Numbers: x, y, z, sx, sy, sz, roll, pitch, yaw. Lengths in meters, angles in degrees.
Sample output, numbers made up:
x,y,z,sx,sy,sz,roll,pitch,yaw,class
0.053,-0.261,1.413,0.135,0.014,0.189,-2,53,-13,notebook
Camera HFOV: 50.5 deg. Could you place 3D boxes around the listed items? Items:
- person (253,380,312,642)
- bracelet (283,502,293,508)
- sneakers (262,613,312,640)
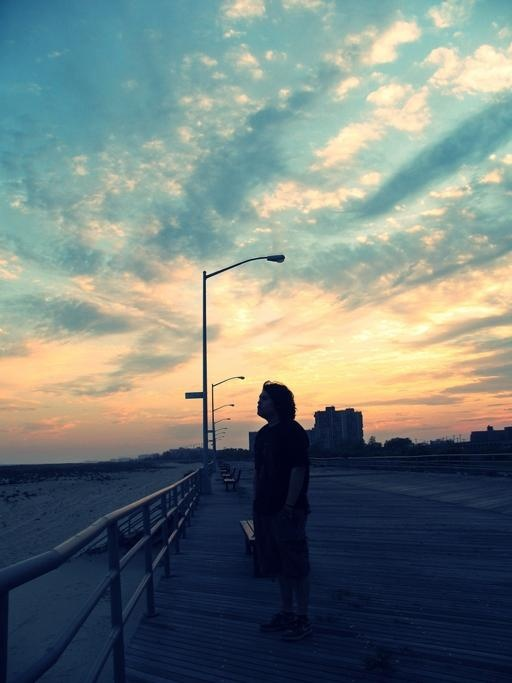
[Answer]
x,y,z,sx,sy,sz,roll,pitch,yaw,class
0.204,1.297,4.273,0.351,1.951,0.653,0,-6,-28,person
0.236,1.209,4.014,0.039,0.036,0.040,-36,-19,32,bracelet
0.242,2.181,4.134,0.217,0.097,0.293,-18,-30,37,sneakers
